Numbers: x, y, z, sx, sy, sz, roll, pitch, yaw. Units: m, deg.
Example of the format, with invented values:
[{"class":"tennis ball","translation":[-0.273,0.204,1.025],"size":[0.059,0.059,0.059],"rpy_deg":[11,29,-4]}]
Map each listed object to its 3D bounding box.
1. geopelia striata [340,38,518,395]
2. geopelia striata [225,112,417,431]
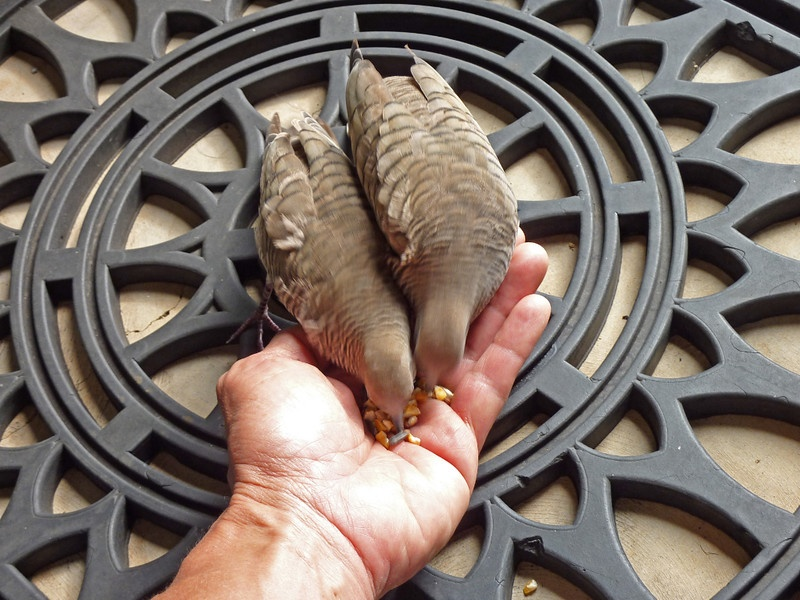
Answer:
[{"class":"geopelia striata","translation":[0.073,-0.347,3.353],"size":[0.401,1.388,0.699],"rpy_deg":[-6,-20,-9]},{"class":"geopelia striata","translation":[-0.202,-0.054,3.182],"size":[0.396,1.228,0.409],"rpy_deg":[-15,-2,-5]}]
